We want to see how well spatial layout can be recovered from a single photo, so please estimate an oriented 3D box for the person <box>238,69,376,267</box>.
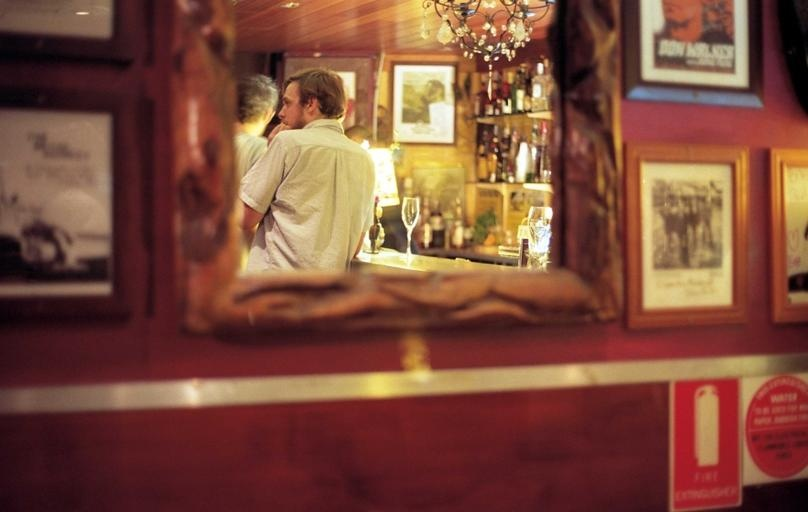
[{"bbox_3d":[-0.426,-0.374,3.131,0.399,0.873,0.641,1,3,27],"label":"person"}]
